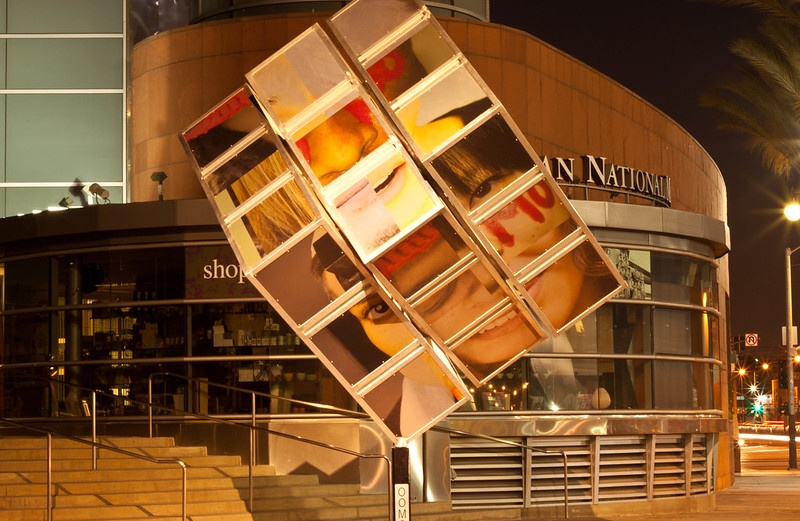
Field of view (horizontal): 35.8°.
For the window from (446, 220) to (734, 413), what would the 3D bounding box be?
[{"bbox_3d":[7.001,2.057,37.081,4.988,5.502,8.799,5,-3,-4],"label":"window"}]
